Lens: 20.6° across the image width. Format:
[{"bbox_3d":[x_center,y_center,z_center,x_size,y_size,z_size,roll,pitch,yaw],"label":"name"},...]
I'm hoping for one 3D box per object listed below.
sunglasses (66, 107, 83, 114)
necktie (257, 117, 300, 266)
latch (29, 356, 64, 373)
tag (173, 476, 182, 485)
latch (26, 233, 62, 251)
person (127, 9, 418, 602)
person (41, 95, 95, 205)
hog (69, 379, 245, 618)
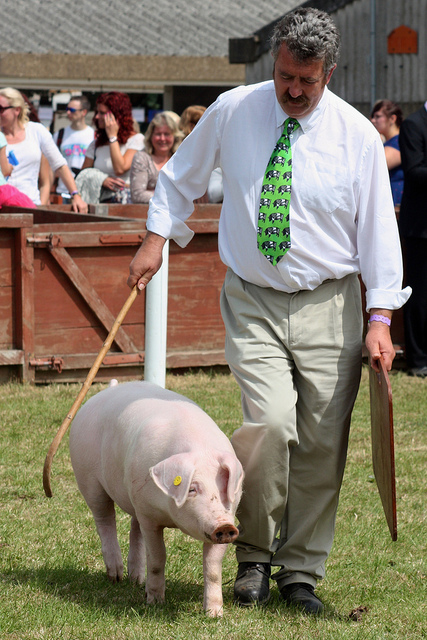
[{"bbox_3d":[-1.292,-1.899,10.675,0.159,0.043,0.105,10,12,35],"label":"sunglasses"},{"bbox_3d":[0.223,-0.455,4.131,0.130,0.505,0.098,2,9,3],"label":"necktie"},{"bbox_3d":[-1.066,0.272,7.399,0.143,0.059,0.096,0,49,-22],"label":"latch"},{"bbox_3d":[-0.118,0.503,3.729,0.023,0.025,0.006,-9,-26,40],"label":"tag"},{"bbox_3d":[-1.065,-0.489,7.337,0.234,0.108,0.070,-1,10,-21],"label":"latch"},{"bbox_3d":[0.207,-0.033,4.254,0.936,2.125,0.455,6,10,21],"label":"person"},{"bbox_3d":[-1.310,-1.315,10.944,0.515,1.497,0.432,1,2,-18],"label":"person"},{"bbox_3d":[-0.183,0.656,4.228,0.387,0.779,1.181,-4,9,-25],"label":"hog"}]
